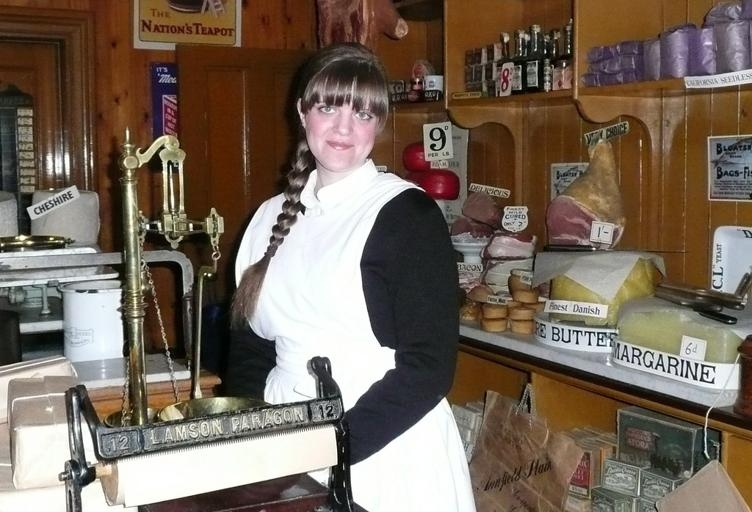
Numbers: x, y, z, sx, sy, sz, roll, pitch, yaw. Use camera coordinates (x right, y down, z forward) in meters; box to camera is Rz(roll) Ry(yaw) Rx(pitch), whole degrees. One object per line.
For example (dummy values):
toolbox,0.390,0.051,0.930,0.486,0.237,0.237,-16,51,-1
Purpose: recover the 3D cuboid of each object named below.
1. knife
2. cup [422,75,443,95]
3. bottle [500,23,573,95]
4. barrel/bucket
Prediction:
knife,1.046,0.144,2.291,0.078,0.083,0.297,1,10,-18
cup,0.278,-0.813,3.381,0.070,0.087,0.093,0,6,25
bottle,0.654,-0.814,2.942,0.308,0.288,0.394,-2,9,11
barrel/bucket,-0.894,0.189,2.307,0.224,0.241,0.227,0,7,0
